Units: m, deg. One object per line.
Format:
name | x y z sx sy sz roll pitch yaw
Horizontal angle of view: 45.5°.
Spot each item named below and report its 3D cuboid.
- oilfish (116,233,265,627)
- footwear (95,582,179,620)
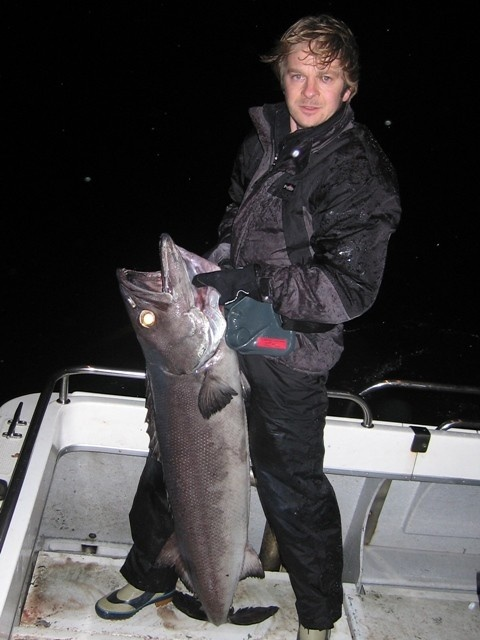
oilfish | -0.016 0.393 2.158 0.537 1.271 0.465 -5 12 13
footwear | -0.413 1.134 2.313 0.276 0.103 0.105 5 7 -19
